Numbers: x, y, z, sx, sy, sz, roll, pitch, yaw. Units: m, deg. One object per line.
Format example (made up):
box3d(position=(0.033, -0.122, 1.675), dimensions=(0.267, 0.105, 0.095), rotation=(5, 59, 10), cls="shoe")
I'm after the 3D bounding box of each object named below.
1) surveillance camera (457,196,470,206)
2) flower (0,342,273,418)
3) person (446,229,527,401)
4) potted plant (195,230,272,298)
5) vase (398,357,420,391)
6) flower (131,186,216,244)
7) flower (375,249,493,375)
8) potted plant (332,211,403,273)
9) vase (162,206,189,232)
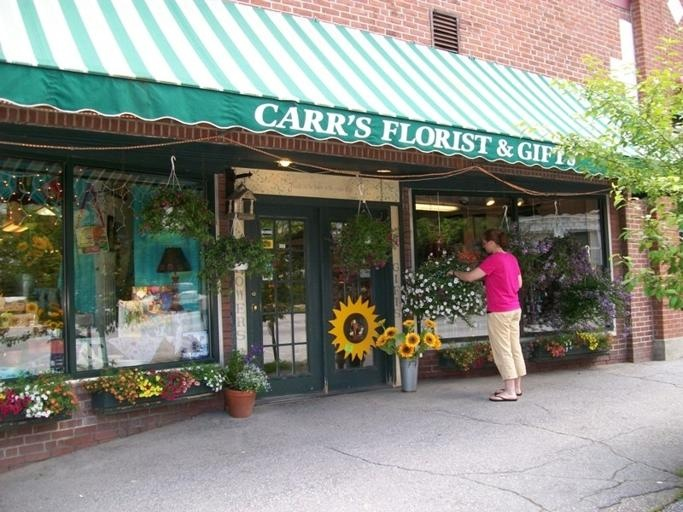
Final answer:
box3d(position=(2.128, -0.959, 10.969), dimensions=(0.229, 0.237, 0.128), rotation=(0, 9, -17), cls="surveillance camera")
box3d(position=(-2.533, 1.612, 7.697), dimensions=(2.916, 0.651, 0.537), rotation=(-5, 6, -30), cls="flower")
box3d(position=(2.258, 0.828, 9.115), dimensions=(0.746, 2.434, 0.949), rotation=(0, 5, 15), cls="person")
box3d(position=(-1.434, 0.139, 8.498), dimensions=(0.763, 0.699, 0.770), rotation=(3, -9, -17), cls="potted plant")
box3d(position=(1.027, 1.792, 9.566), dimensions=(0.341, 0.497, 0.353), rotation=(-7, -16, 29), cls="vase")
box3d(position=(-2.203, -0.530, 8.262), dimensions=(0.732, 0.492, 0.736), rotation=(-3, -17, 21), cls="flower")
box3d(position=(1.338, 0.746, 9.630), dimensions=(1.589, 0.854, 1.551), rotation=(-7, 7, -33), cls="flower")
box3d(position=(0.317, -0.181, 9.659), dimensions=(0.914, 0.869, 0.439), rotation=(-1, 5, 0), cls="potted plant")
box3d(position=(-2.174, -0.482, 8.138), dimensions=(0.294, 0.335, 0.102), rotation=(-3, 5, -16), cls="vase")
